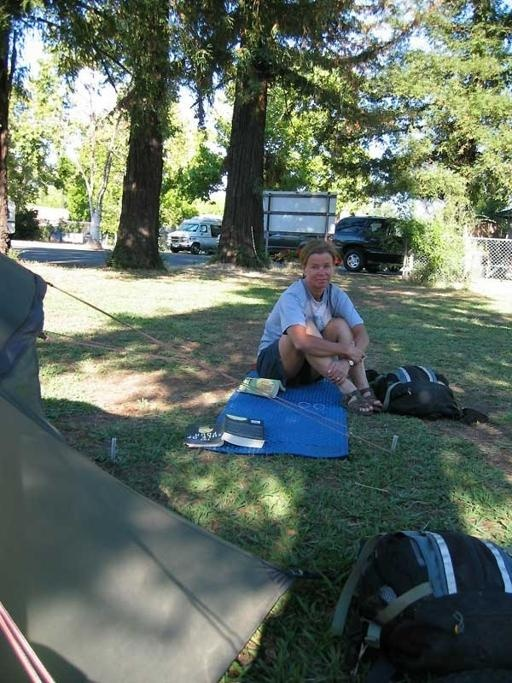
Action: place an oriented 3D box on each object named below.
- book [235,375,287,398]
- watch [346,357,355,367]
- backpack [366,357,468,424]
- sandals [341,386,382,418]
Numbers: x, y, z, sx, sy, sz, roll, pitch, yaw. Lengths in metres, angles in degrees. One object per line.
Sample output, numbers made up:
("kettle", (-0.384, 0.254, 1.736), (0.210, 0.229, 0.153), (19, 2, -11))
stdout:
("book", (0.030, 0.314, 3.688), (0.188, 0.053, 0.185), (9, 27, 21))
("watch", (0.654, 0.146, 3.668), (0.032, 0.043, 0.055), (-12, 18, -24))
("backpack", (1.080, 0.328, 3.648), (0.691, 0.292, 0.446), (10, 11, 23))
("sandals", (0.710, 0.400, 3.516), (0.152, 0.084, 0.221), (-5, 10, -19))
